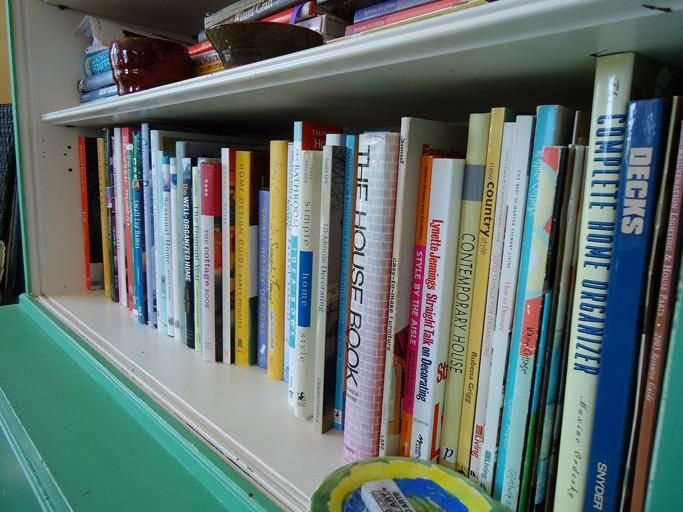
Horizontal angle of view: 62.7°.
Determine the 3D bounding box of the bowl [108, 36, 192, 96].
[{"bbox_3d":[-0.413,-0.389,1.215,0.178,0.116,0.203,-1,4,-25],"label":"bowl"}]
